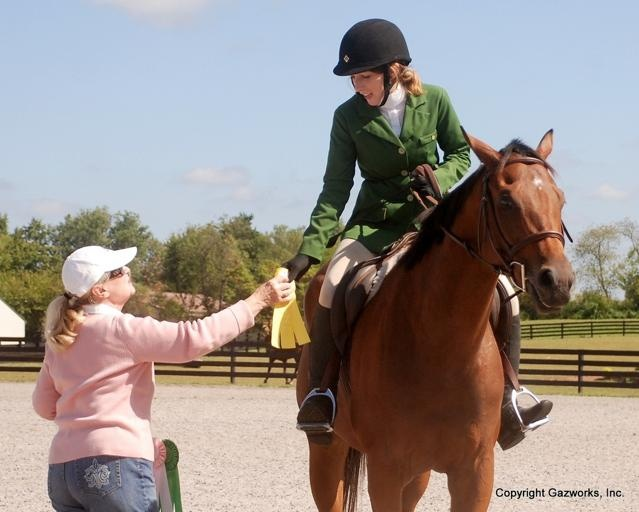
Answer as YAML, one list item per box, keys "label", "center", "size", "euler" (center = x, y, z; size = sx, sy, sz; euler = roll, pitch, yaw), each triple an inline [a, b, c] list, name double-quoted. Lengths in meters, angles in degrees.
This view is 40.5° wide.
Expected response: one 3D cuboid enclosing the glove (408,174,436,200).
- label: "glove"
  center: [0.805, -0.544, 6.842]
  size: [0.074, 0.222, 0.128]
  euler: [-43, 17, -15]
